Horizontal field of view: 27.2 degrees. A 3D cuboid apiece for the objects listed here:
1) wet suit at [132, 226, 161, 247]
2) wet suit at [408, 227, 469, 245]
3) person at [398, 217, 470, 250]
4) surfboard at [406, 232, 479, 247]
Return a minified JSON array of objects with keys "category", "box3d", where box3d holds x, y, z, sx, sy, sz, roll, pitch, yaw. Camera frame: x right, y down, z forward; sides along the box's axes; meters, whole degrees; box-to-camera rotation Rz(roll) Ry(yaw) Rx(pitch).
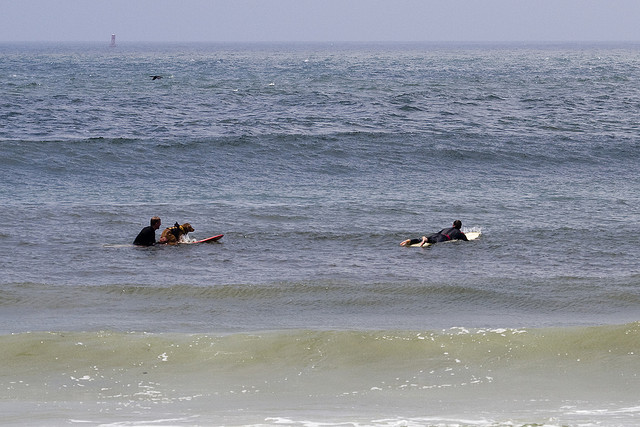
[{"category":"wet suit","box3d":[-7.969,1.072,60.938,1.775,0.865,0.960,6,4,6]},{"category":"wet suit","box3d":[5.516,1.038,61.479,2.040,0.389,0.965,-9,16,-16]},{"category":"person","box3d":[5.250,0.911,61.502,2.884,0.792,1.495,-6,13,-24]},{"category":"surfboard","box3d":[6.129,1.084,61.719,2.344,0.340,1.040,-7,14,-14]}]
